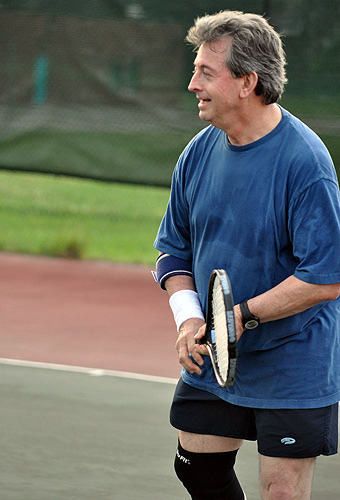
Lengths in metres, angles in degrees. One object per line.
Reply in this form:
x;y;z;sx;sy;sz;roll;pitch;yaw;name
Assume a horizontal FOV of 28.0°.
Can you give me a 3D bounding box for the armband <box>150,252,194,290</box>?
0.006;0.063;2.043;0.122;0.095;0.089;4;20;18;armband
